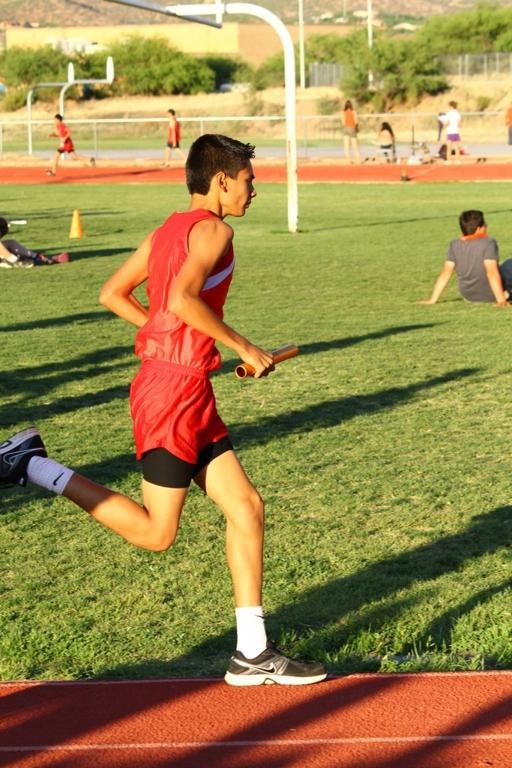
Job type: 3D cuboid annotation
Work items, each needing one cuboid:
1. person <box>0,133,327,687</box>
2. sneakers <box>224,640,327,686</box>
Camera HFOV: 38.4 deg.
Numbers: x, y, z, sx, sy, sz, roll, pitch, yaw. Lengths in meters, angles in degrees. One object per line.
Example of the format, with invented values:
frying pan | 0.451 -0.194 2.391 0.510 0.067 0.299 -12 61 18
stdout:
person | -0.248 0.160 2.180 1.022 1.317 0.415 11 20 41
sneakers | 0.046 0.788 2.079 0.318 0.115 0.104 0 -4 -4
